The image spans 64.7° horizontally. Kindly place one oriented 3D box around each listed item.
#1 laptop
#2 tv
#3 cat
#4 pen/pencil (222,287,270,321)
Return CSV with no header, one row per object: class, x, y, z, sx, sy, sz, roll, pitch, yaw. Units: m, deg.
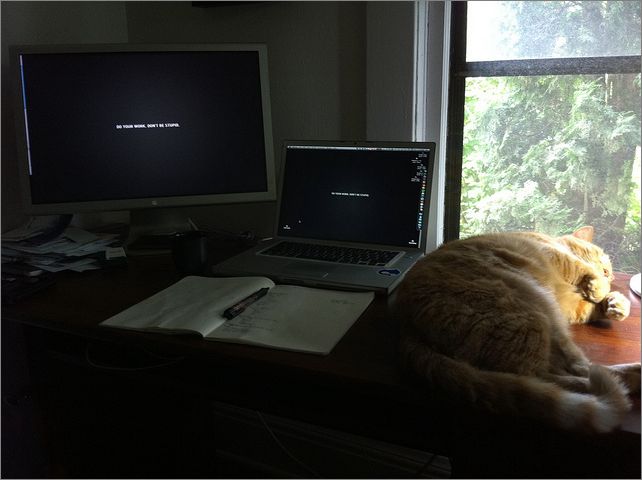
laptop,0.025,-0.169,1.190,0.473,0.290,0.429,6,22,23
tv,-0.498,-0.272,1.402,0.593,0.456,0.172,-3,10,-9
cat,0.351,0.162,0.908,0.324,0.104,0.403,-5,18,5
pen/pencil,-0.154,0.127,1.101,0.027,0.021,0.156,-44,-7,32
